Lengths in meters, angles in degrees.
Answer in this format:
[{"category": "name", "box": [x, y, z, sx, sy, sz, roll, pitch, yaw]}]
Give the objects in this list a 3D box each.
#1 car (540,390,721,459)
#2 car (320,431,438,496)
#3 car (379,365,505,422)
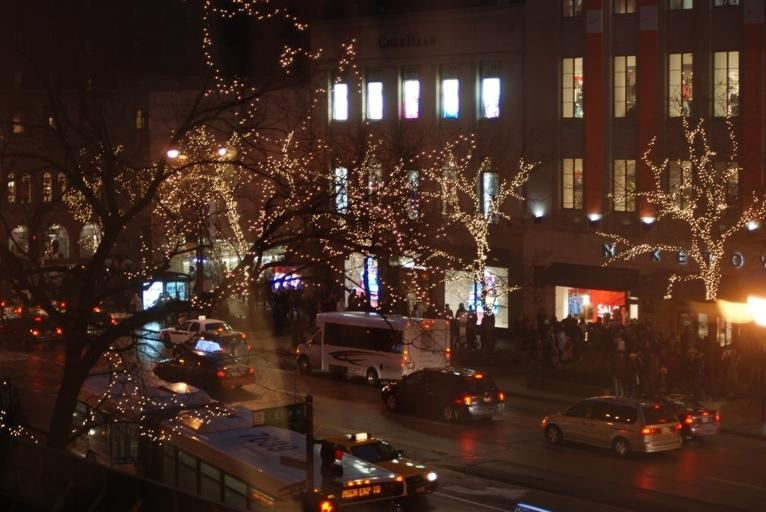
[{"category": "car", "box": [8.425, 6.063, 34.836, 2.650, 1.772, 4.593, -4, 5, -44]}, {"category": "car", "box": [-0.369, 6.839, 30.600, 2.036, 1.663, 4.391, -3, 3, -39]}, {"category": "car", "box": [2.551, 5.446, 38.739, 3.956, 1.609, 2.087, 4, 3, 41]}]
